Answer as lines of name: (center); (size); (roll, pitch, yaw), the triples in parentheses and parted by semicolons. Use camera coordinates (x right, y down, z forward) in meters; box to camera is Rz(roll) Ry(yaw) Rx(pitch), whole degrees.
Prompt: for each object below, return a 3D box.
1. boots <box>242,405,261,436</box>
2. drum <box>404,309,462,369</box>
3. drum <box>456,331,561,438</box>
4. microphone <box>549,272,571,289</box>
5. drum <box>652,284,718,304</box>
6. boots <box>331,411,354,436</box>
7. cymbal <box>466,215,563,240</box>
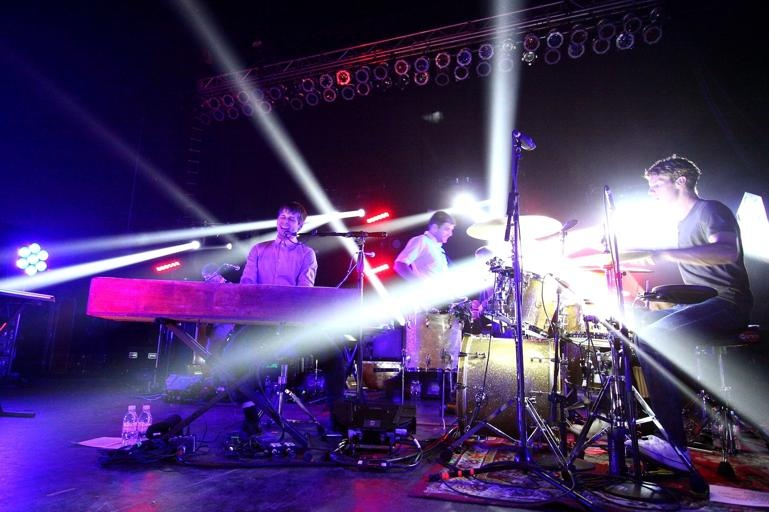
boots: (-1.630, 2.067, 6.350); (0.324, 0.340, 0.222); (15, -20, -41)
drum: (0.716, 1.286, 7.883); (0.869, 0.803, 0.859); (6, -9, -20)
drum: (1.497, 1.504, 6.511); (1.159, 1.274, 1.237); (0, -7, 32)
microphone: (1.940, 0.269, 5.675); (0.090, 0.079, 0.286); (38, 1, -32)
drum: (3.166, 0.400, 5.459); (0.802, 0.158, 0.348); (7, -16, -18)
boots: (-0.524, 2.003, 6.046); (0.236, 0.297, 0.660); (3, -15, -5)
cymbal: (1.996, -0.425, 7.156); (0.725, 0.065, 0.691); (10, -23, -28)
